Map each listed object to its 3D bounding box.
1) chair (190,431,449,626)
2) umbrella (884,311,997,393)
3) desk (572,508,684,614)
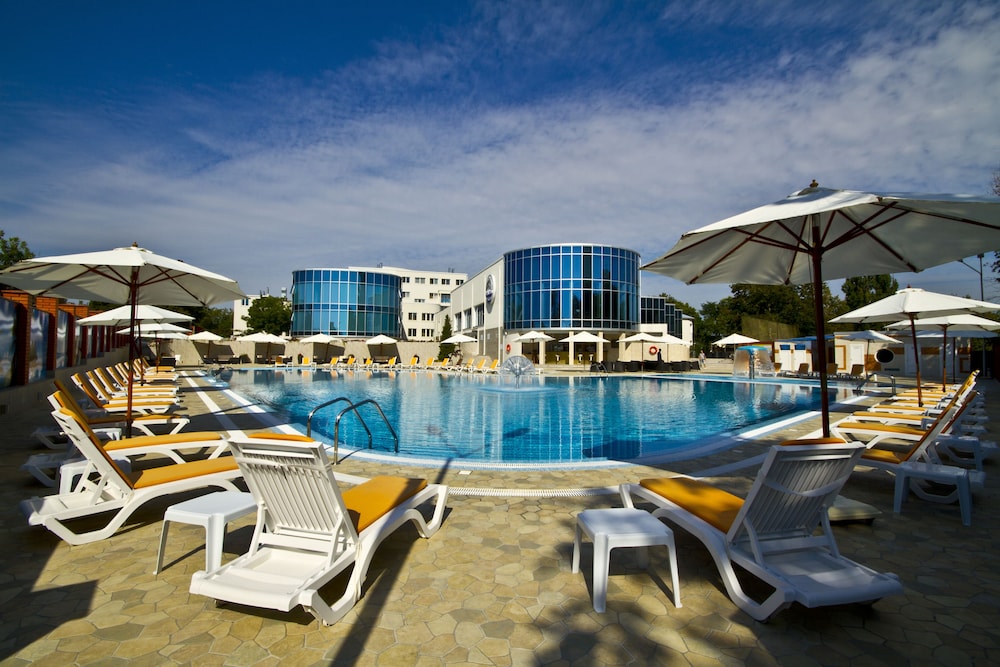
[{"bbox_3d":[-2.061,2.254,7.386,1.646,1.333,3.176,-1,3,21],"label":"chair"},{"bbox_3d":[19.382,0.926,23.894,4.373,2.086,3.559,2,-8,7],"label":"umbrella"},{"bbox_3d":[1.536,2.776,6.735,1.316,1.009,0.768,-2,2,6],"label":"desk"}]
